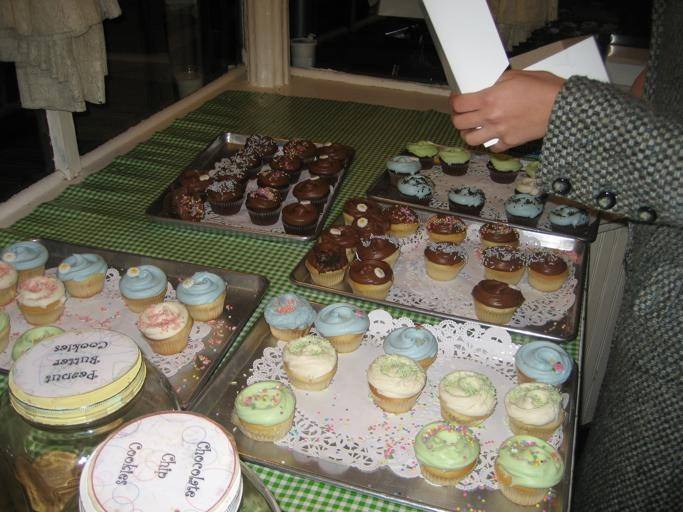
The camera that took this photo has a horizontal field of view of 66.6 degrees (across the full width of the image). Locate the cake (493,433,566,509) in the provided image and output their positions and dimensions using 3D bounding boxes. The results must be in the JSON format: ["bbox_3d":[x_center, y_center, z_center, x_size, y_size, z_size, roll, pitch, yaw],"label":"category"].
[{"bbox_3d":[0.534,0.617,1.529,0.206,0.119,0.183,2,29,6],"label":"cake"}]

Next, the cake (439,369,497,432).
[{"bbox_3d":[0.410,0.466,1.729,0.192,0.089,0.185,9,17,30],"label":"cake"}]

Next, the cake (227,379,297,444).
[{"bbox_3d":[-0.250,0.489,1.668,0.198,0.084,0.190,18,27,36],"label":"cake"}]

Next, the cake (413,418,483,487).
[{"bbox_3d":[0.327,0.592,1.608,0.222,0.120,0.217,4,20,9],"label":"cake"}]
